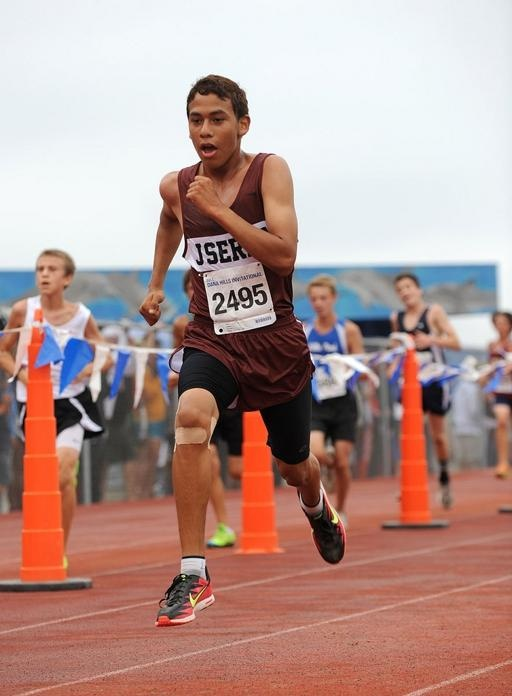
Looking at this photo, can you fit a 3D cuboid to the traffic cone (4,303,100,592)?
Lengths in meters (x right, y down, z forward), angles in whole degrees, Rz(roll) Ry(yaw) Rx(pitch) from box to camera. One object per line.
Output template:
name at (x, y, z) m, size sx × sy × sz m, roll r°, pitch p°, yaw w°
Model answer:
traffic cone at (-1.085, 0.518, 4.773) m, size 0.445 × 1.074 × 0.294 m, roll -2°, pitch -1°, yaw -10°

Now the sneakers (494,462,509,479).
sneakers at (1.490, 0.747, 5.713) m, size 0.101 × 0.108 × 0.303 m, roll -2°, pitch -4°, yaw 11°

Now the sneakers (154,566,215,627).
sneakers at (-0.217, 0.721, 2.712) m, size 0.096 × 0.104 × 0.256 m, roll -8°, pitch 0°, yaw 19°

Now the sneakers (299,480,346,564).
sneakers at (0.312, 0.818, 4.187) m, size 0.160 × 0.425 × 0.182 m, roll -21°, pitch 18°, yaw 7°
